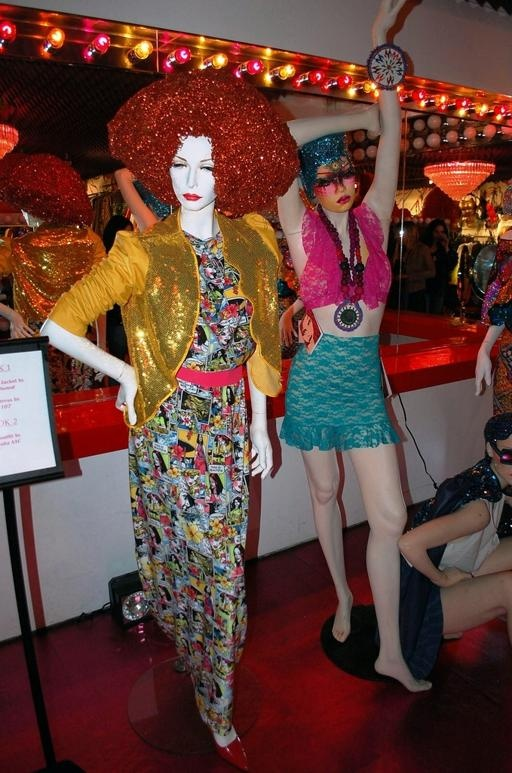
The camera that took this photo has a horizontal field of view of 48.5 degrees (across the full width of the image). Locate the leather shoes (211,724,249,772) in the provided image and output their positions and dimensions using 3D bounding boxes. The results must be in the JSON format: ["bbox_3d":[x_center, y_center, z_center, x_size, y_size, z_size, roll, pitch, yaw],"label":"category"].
[{"bbox_3d":[-0.063,0.865,1.375,0.043,0.058,0.139,-3,-6,-25],"label":"leather shoes"}]

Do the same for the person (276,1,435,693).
[{"bbox_3d":[0.280,-0.091,1.612,0.427,1.894,0.328,0,9,6],"label":"person"}]

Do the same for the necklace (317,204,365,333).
[{"bbox_3d":[0.230,-0.320,1.527,0.105,0.336,0.157,-2,9,-5],"label":"necklace"}]

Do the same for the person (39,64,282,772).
[{"bbox_3d":[-0.165,0.139,1.288,0.576,1.564,0.300,-5,10,-24],"label":"person"}]
